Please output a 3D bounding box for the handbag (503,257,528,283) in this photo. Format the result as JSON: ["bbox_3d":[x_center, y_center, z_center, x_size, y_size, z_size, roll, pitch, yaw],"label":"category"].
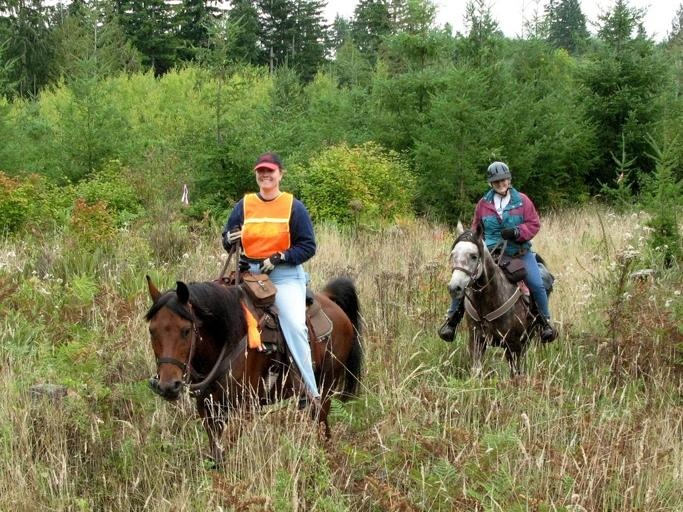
[{"bbox_3d":[2.815,0.239,11.693,0.258,0.355,0.167,-13,-10,-32],"label":"handbag"}]

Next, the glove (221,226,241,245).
[{"bbox_3d":[-1.484,-0.279,9.723,0.180,0.156,0.270,0,9,0],"label":"glove"}]

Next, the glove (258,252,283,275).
[{"bbox_3d":[-0.929,0.097,9.527,0.205,0.331,0.114,37,13,-14],"label":"glove"}]

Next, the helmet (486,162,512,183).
[{"bbox_3d":[2.602,-1.392,11.933,0.349,0.261,0.401,-2,1,13],"label":"helmet"}]

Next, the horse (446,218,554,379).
[{"bbox_3d":[2.346,0.674,11.435,1.950,1.811,0.673,-3,2,-43],"label":"horse"}]
